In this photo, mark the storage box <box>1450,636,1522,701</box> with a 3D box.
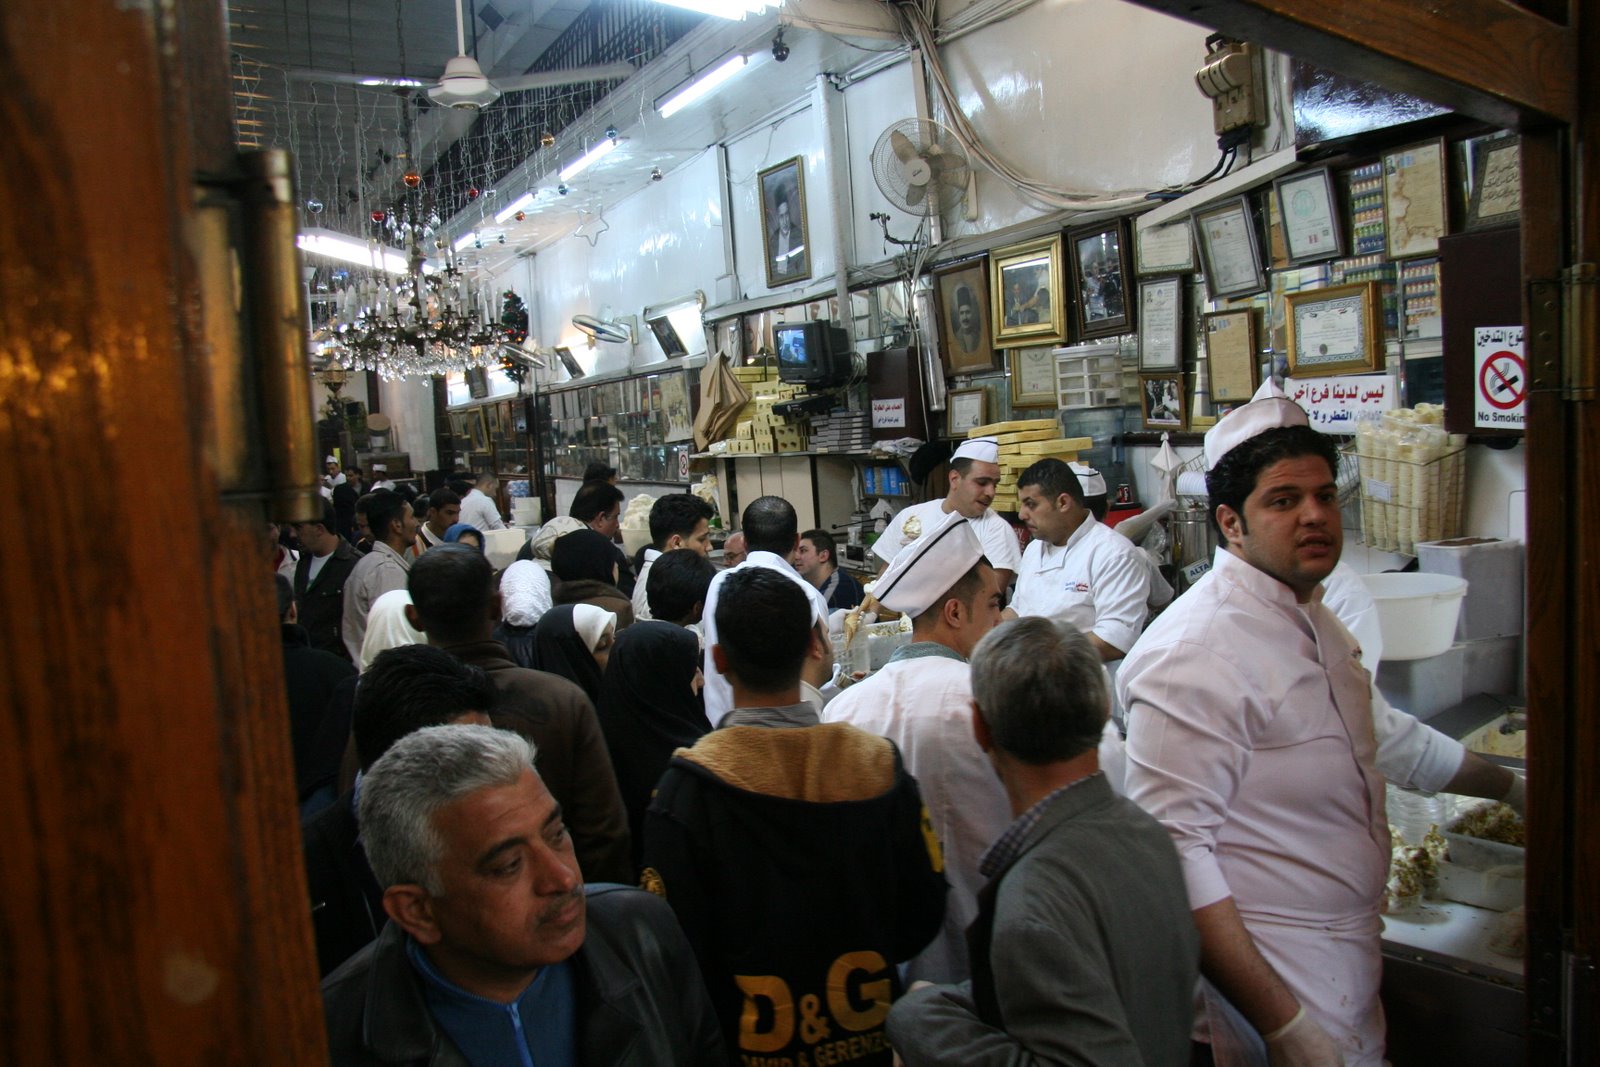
[{"bbox_3d":[2.231,0.442,3.758,0.215,0.217,0.124,-2,4,-22],"label":"storage box"}]

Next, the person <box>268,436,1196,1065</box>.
[{"bbox_3d":[-0.191,0.610,2.273,1.298,0.978,0.926,-6,5,-12],"label":"person"}]

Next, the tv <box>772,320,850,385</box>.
[{"bbox_3d":[0.103,-1.178,7.794,0.404,0.530,0.573,-9,9,-44],"label":"tv"}]

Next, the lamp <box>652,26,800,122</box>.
[{"bbox_3d":[-0.555,-2.982,7.625,0.651,0.258,1.407,-8,6,-31],"label":"lamp"}]

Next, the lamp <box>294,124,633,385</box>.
[{"bbox_3d":[-3.283,-2.246,9.648,1.549,1.692,1.853,-7,5,-22],"label":"lamp"}]

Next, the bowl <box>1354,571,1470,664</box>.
[{"bbox_3d":[1.814,0.240,3.434,0.304,0.193,0.279,-2,-2,0],"label":"bowl"}]

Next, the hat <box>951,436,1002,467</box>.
[{"bbox_3d":[0.823,-0.378,5.359,0.140,0.095,0.188,1,0,-35],"label":"hat"}]

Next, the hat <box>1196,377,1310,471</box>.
[{"bbox_3d":[0.968,-0.238,2.548,0.189,0.140,0.262,-4,-30,-12],"label":"hat"}]

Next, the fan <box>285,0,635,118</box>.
[{"bbox_3d":[-3.095,-4.404,10.595,2.354,0.895,2.419,0,7,-3],"label":"fan"}]
